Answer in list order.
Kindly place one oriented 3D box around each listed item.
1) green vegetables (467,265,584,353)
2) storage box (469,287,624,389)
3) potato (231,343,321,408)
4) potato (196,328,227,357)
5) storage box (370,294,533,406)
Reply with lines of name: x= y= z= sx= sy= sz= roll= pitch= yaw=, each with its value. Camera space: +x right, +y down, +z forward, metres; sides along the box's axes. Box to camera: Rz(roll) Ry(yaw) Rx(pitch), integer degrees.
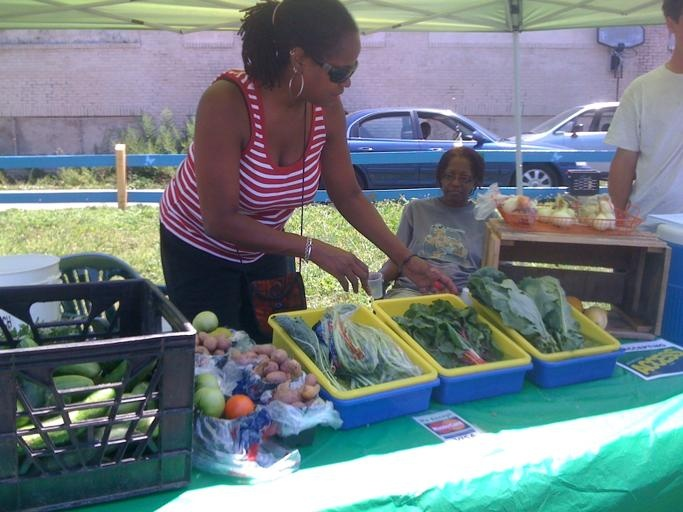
green vegetables: x=0.738 y=0.203 z=2.210 sx=0.316 sy=0.325 sz=0.380 roll=-2 pitch=12 yaw=-20
storage box: x=0.837 y=0.292 z=2.132 sx=0.279 sy=0.134 sz=0.424 roll=-9 pitch=29 yaw=-19
potato: x=-0.211 y=0.382 z=1.804 sx=0.244 sy=0.086 sz=0.159 roll=25 pitch=22 yaw=35
potato: x=-0.444 y=0.293 z=1.884 sx=0.083 sy=0.036 sz=0.086 roll=6 pitch=9 yaw=7
storage box: x=0.380 y=0.309 z=2.217 sx=0.704 sy=0.342 sz=0.561 roll=-6 pitch=13 yaw=-31
